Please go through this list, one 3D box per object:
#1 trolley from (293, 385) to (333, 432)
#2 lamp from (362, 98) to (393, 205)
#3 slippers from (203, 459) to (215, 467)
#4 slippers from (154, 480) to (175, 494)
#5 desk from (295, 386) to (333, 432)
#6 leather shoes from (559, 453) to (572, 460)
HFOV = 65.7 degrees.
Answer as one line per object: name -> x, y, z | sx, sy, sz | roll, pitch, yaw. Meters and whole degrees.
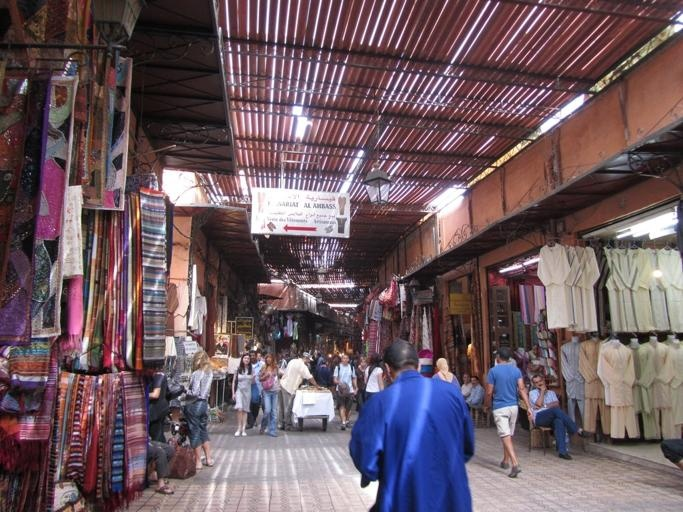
trolley -> -0.570, 3.241, 11.173 | 0.785, 0.729, 0.841 | 2, -16, 0
lamp -> 0.720, -1.672, 10.305 | 0.450, 2.263, 0.540 | 3, -4, 0
slippers -> -1.938, 3.033, 7.763 | 0.081, 0.123, 0.265 | 1, -12, -1
slippers -> -2.136, 2.815, 6.405 | 0.254, 0.115, 0.147 | -8, -15, 38
desk -> -0.573, 3.253, 11.151 | 0.757, 0.697, 0.810 | 2, -17, 0
leather shoes -> 3.370, 3.033, 7.962 | 0.069, 0.079, 0.173 | 12, -20, -39
